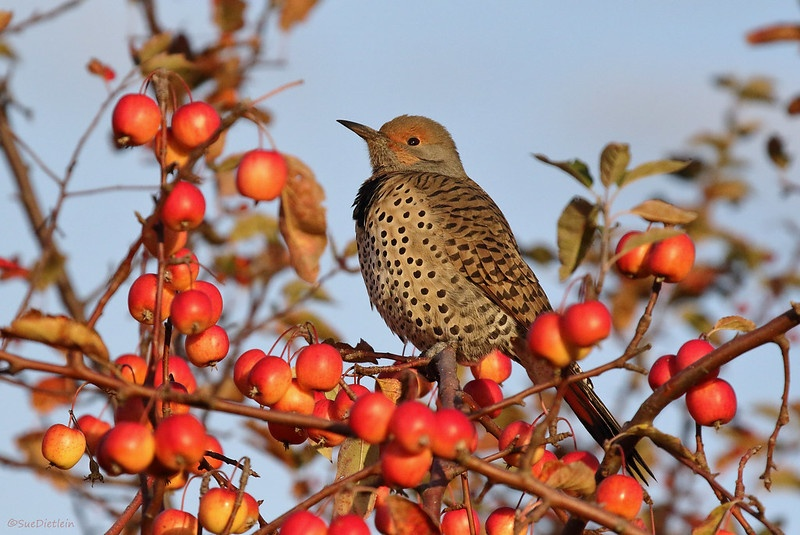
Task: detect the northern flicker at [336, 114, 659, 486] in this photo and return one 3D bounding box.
[{"bbox_3d":[0.539,0.190,6.874,1.903,2.162,0.812,6,-26,2],"label":"northern flicker"}]

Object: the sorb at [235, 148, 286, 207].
[{"bbox_3d":[-0.596,-0.402,4.957,0.203,0.158,0.219,-31,-64,20],"label":"sorb"}]
